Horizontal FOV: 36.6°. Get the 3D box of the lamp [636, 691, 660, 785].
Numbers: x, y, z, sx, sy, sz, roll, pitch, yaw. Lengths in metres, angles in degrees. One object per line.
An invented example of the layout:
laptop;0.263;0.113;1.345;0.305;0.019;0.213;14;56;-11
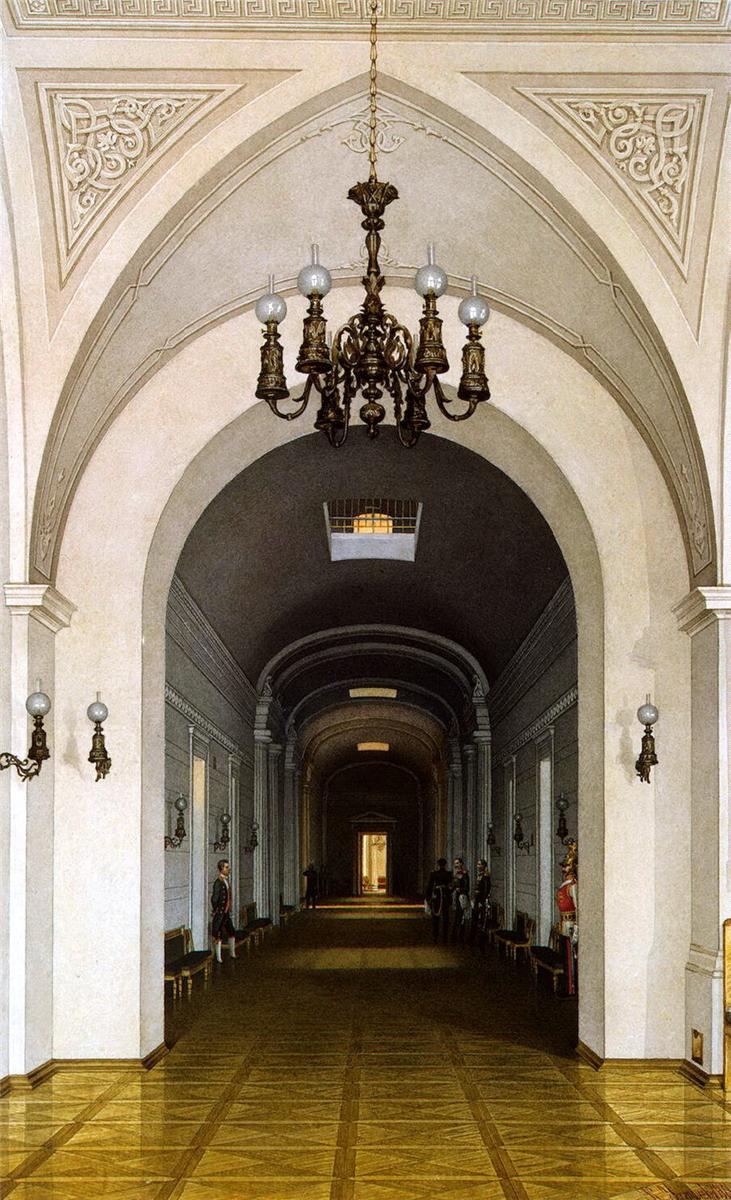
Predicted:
lamp;1.903;0.900;7.468;0.179;0.606;0.482;-3;-14;14
